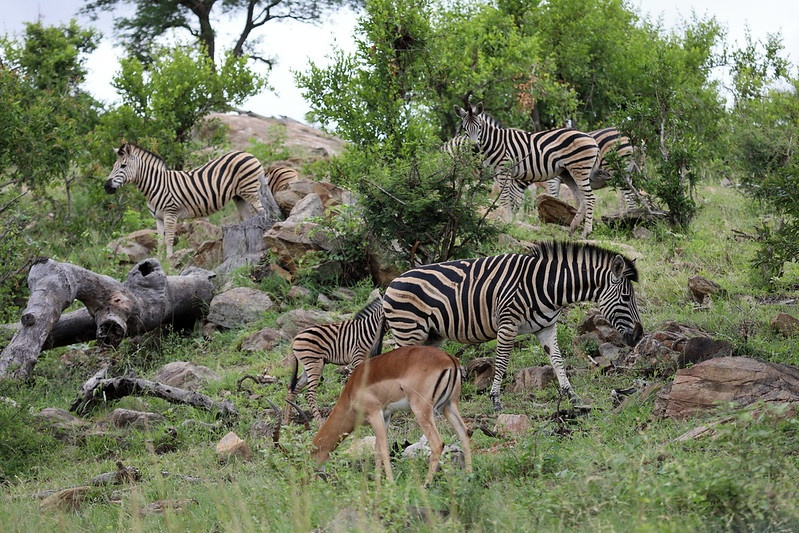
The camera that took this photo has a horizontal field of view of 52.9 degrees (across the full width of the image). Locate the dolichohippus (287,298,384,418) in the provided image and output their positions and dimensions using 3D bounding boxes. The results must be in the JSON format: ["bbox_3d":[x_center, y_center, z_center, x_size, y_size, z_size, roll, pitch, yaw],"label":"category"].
[{"bbox_3d":[-0.784,1.441,12.662,2.228,1.773,0.546,-4,-9,-25],"label":"dolichohippus"}]

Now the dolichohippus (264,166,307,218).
[{"bbox_3d":[-2.738,-2.026,18.633,0.713,1.018,1.445,-4,1,-12],"label":"dolichohippus"}]

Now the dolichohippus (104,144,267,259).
[{"bbox_3d":[-4.893,-1.629,18.907,3.821,2.728,1.091,-10,10,-33],"label":"dolichohippus"}]

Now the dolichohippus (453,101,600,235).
[{"bbox_3d":[2.663,-2.033,17.304,3.328,2.669,1.033,7,0,17],"label":"dolichohippus"}]
